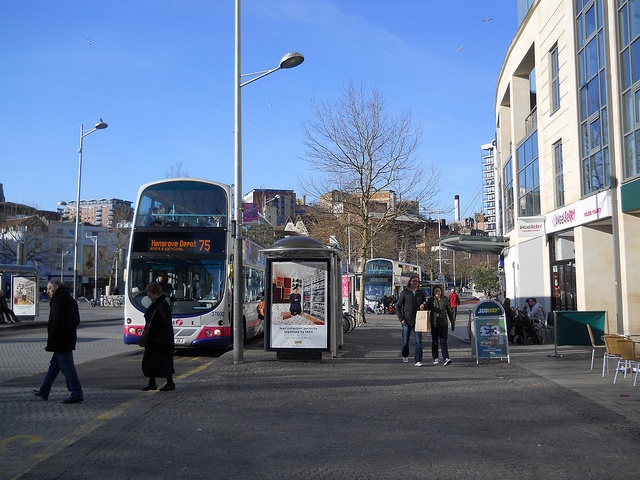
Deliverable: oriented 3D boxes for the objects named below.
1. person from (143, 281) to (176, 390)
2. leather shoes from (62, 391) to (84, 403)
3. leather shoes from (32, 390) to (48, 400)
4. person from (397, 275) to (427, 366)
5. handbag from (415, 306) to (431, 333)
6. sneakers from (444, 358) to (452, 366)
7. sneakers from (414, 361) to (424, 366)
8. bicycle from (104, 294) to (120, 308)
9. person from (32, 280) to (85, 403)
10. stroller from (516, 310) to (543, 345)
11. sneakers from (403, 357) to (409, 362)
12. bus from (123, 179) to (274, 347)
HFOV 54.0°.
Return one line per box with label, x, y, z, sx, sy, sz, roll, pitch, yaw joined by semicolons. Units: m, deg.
person;-3.116;1.897;12.168;0.634;2.075;0.316;1;-6;-15
leather shoes;-4.424;2.811;11.207;0.445;0.210;0.161;2;-1;1
leather shoes;-5.085;2.839;11.452;0.251;0.113;0.087;31;-1;-3
person;2.302;2.074;15.969;0.716;2.252;1.219;-1;-6;8
handbag;2.519;1.975;15.468;0.482;0.821;0.461;0;-23;5
sneakers;3.227;3.149;15.942;0.101;0.133;0.292;20;-44;-6
sneakers;2.464;3.119;15.715;0.117;0.124;0.293;0;-12;6
bicycle;-16.632;5.039;50.783;0.790;0.965;2.484;6;-9;-44
person;-4.774;1.875;11.631;0.796;2.199;1.140;3;-6;-24
stroller;7.081;2.960;21.066;0.994;1.542;0.993;0;-3;10
sneakers;2.270;3.149;16.393;0.114;0.117;0.201;-2;-7;14
bus;-3.545;1.269;22.818;2.628;5.071;11.396;0;-7;4
